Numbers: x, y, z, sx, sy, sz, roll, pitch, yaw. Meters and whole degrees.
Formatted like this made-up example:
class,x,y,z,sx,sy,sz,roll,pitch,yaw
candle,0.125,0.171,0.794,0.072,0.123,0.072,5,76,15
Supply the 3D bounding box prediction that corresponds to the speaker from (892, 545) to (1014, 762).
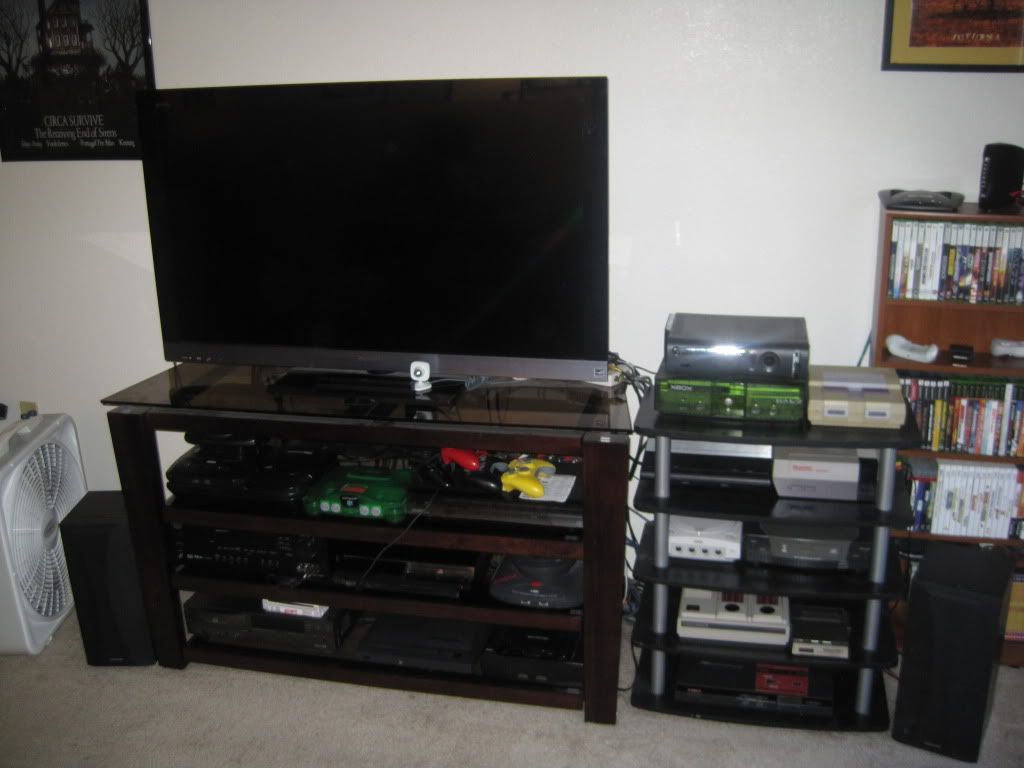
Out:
class,x,y,z,sx,sy,sz,roll,pitch,yaw
speaker,1.391,0.843,2.818,0.272,0.633,0.272,8,16,28
